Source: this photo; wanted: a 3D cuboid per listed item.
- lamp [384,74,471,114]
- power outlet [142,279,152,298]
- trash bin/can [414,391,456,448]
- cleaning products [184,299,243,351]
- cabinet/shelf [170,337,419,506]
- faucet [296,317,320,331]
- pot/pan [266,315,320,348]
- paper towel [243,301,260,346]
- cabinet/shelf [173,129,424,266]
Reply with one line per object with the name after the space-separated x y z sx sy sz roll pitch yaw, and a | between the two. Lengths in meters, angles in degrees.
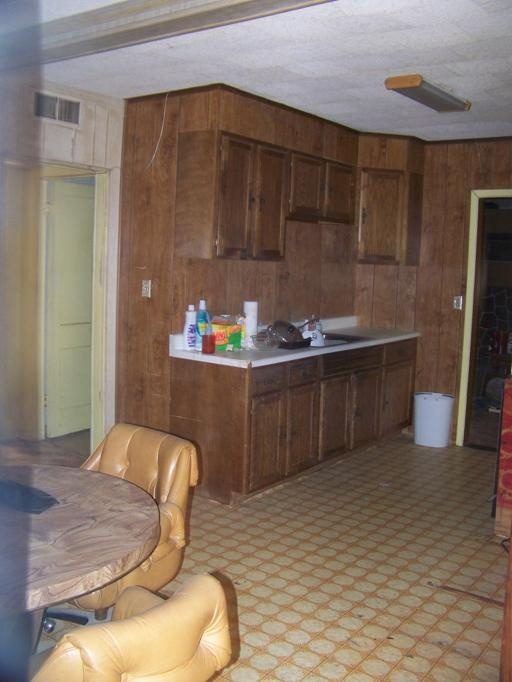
0.906 -1.284 2.863 0.181 0.071 0.646 7 7 42 | lamp
-0.759 -0.361 3.774 0.108 0.148 0.017 9 15 34 | power outlet
1.582 0.735 4.905 0.312 0.466 0.214 3 6 15 | trash bin/can
-0.301 -0.098 3.714 0.258 0.436 0.436 6 9 39 | cleaning products
0.541 0.475 4.309 2.500 0.968 0.686 -4 8 -44 | cabinet/shelf
0.399 -0.115 4.055 0.159 0.153 0.113 -4 11 -13 | faucet
0.265 -0.062 3.809 0.199 0.120 0.337 -1 5 -41 | pot/pan
-0.027 -0.153 3.906 0.077 0.255 0.061 1 6 18 | paper towel
0.392 -1.014 4.154 2.186 0.890 0.376 -4 8 -43 | cabinet/shelf
